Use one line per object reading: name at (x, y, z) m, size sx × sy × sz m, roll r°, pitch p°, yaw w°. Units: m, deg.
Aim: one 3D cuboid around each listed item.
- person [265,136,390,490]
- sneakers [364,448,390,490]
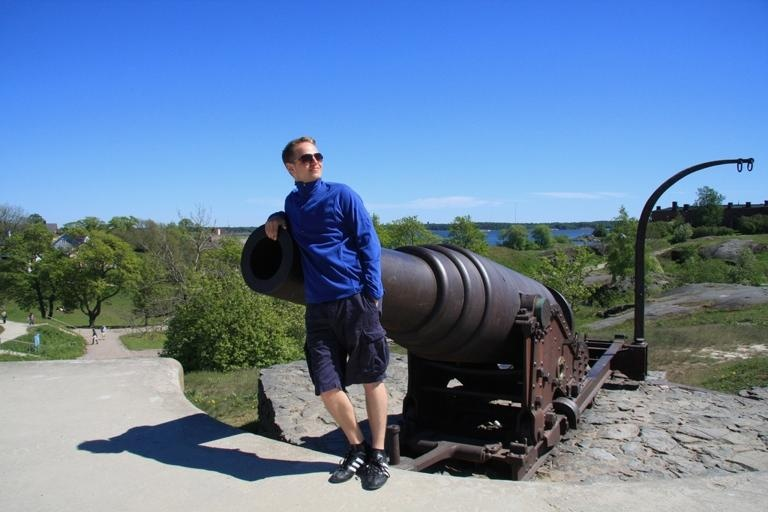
person at (-0.391, 0.430, 4.407) m, size 1.016 × 2.835 × 0.328 m, roll 3°, pitch 0°, yaw 4°
sneakers at (-0.057, 1.710, 4.320) m, size 0.232 × 0.322 × 0.236 m, roll 3°, pitch 0°, yaw 1°
